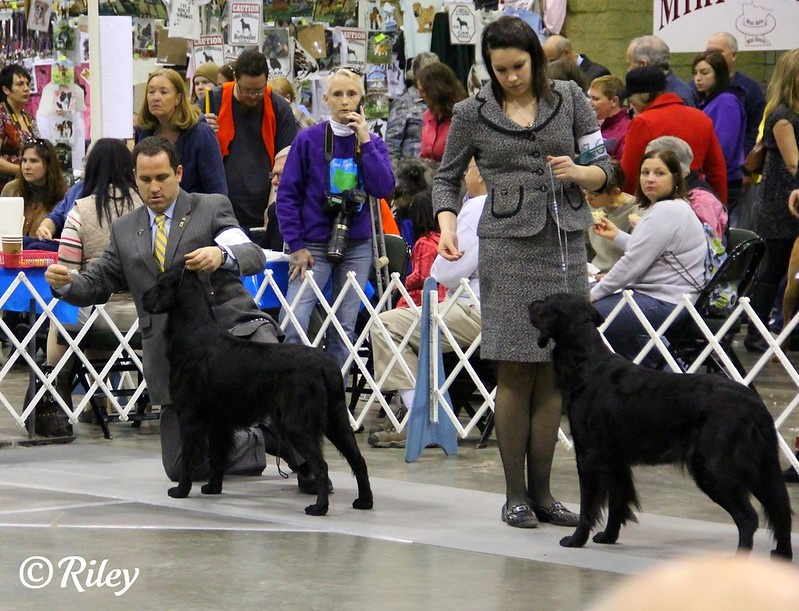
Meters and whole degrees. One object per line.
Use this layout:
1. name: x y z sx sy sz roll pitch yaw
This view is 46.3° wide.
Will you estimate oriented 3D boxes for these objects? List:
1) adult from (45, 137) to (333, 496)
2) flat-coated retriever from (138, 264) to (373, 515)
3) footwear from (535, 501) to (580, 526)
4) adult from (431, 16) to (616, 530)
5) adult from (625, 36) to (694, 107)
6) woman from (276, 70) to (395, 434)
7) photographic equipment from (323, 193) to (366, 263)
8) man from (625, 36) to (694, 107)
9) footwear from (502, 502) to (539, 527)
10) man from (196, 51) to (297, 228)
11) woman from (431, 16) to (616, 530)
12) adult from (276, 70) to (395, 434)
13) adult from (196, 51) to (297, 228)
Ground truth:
1. adult: -1.130 0.157 4.807 1.044 1.999 1.092 -12 2 -16
2. flat-coated retriever: -0.720 0.398 4.421 1.287 1.039 0.417 4 4 31
3. footwear: 0.710 0.947 4.268 0.079 0.082 0.218 2 -3 -42
4. adult: 0.560 -0.161 4.199 0.747 2.240 0.714 0 -6 -9
5. adult: 2.121 -1.996 7.891 0.594 0.666 0.817 -3 12 13
6. woman: -0.460 -0.474 6.428 0.741 2.266 0.606 0 15 -15
7. photographic equipment: -0.398 -0.513 6.210 0.273 0.454 0.187 12 -2 -27
8. man: 2.187 -2.016 7.862 0.594 0.666 0.817 -3 12 13
9. footwear: 0.545 0.935 4.174 0.080 0.060 0.163 0 -5 -23
10. man: -1.294 -1.146 8.153 0.907 1.887 0.692 2 17 3
11. woman: 0.568 -0.181 4.199 0.762 2.269 0.740 1 -7 -10
12. adult: -0.455 -0.475 6.394 0.739 2.291 0.672 0 17 -16
13. adult: -1.315 -1.159 8.154 0.850 1.871 0.653 -1 18 -6
